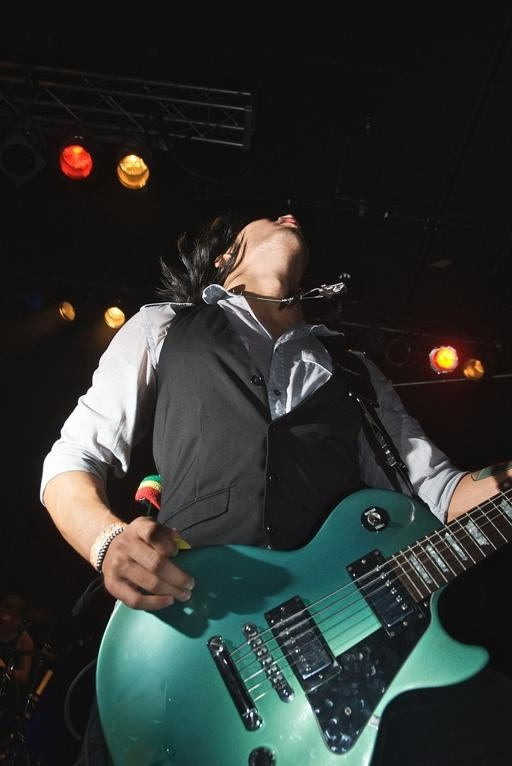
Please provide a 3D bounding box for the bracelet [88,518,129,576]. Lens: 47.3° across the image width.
[{"bbox_3d":[-0.394,0.422,1.514,0.128,0.048,0.101,-52,38,-7],"label":"bracelet"}]
